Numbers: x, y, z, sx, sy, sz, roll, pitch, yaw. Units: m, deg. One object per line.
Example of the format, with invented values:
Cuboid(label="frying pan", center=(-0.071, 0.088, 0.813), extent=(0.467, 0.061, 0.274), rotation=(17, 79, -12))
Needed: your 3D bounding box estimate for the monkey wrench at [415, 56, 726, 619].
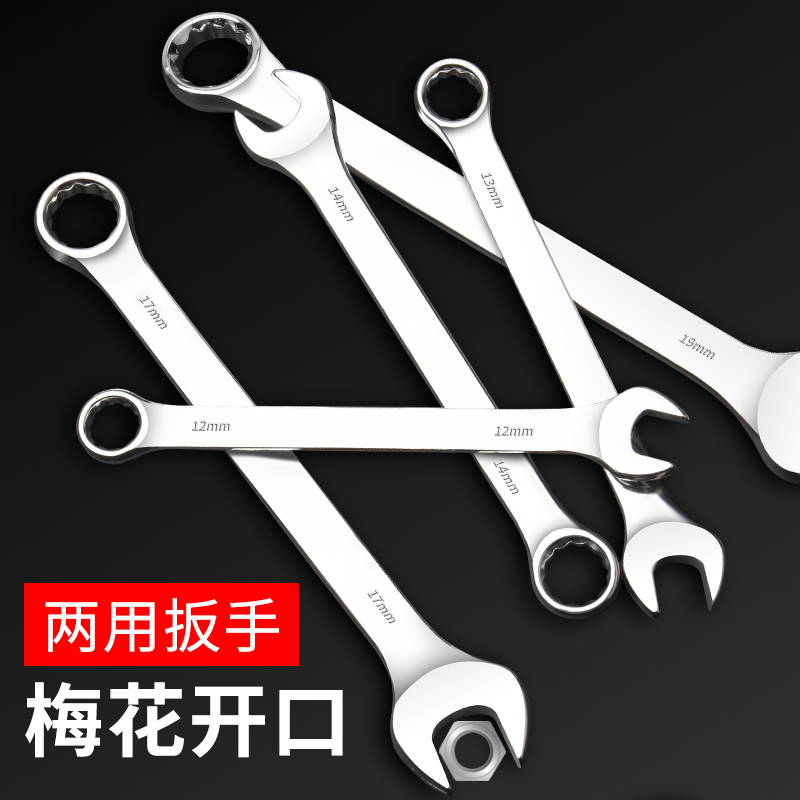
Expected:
Cuboid(label="monkey wrench", center=(0.151, -0.211, 1.304), extent=(0.143, 0.036, 0.679), rotation=(-25, 55, 3))
